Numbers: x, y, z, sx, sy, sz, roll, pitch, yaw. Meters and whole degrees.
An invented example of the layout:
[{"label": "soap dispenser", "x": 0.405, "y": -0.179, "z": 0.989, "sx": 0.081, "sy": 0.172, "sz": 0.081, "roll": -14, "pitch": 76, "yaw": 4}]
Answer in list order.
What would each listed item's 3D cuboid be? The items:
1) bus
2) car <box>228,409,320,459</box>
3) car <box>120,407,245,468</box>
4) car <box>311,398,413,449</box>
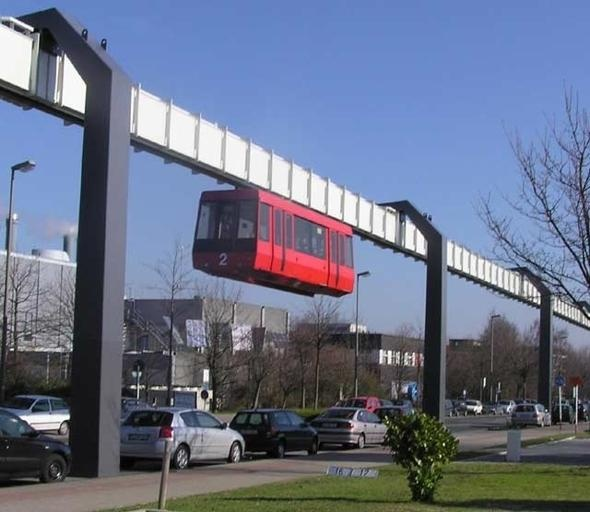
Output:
[{"label": "bus", "x": -0.412, "y": -0.283, "z": 26.985, "sx": 2.248, "sy": 3.038, "sz": 7.543, "roll": -2, "pitch": -8, "yaw": 28}, {"label": "car", "x": -0.533, "y": 5.795, "z": 25.338, "sx": 1.423, "sy": 1.314, "sz": 2.687, "roll": -3, "pitch": -4, "yaw": 31}, {"label": "car", "x": -3.102, "y": 4.932, "z": 20.747, "sx": 1.429, "sy": 1.629, "sz": 3.855, "roll": -11, "pitch": -18, "yaw": 43}, {"label": "car", "x": 2.059, "y": 6.576, "z": 29.385, "sx": 1.400, "sy": 1.562, "sz": 3.186, "roll": -10, "pitch": -17, "yaw": 41}]
